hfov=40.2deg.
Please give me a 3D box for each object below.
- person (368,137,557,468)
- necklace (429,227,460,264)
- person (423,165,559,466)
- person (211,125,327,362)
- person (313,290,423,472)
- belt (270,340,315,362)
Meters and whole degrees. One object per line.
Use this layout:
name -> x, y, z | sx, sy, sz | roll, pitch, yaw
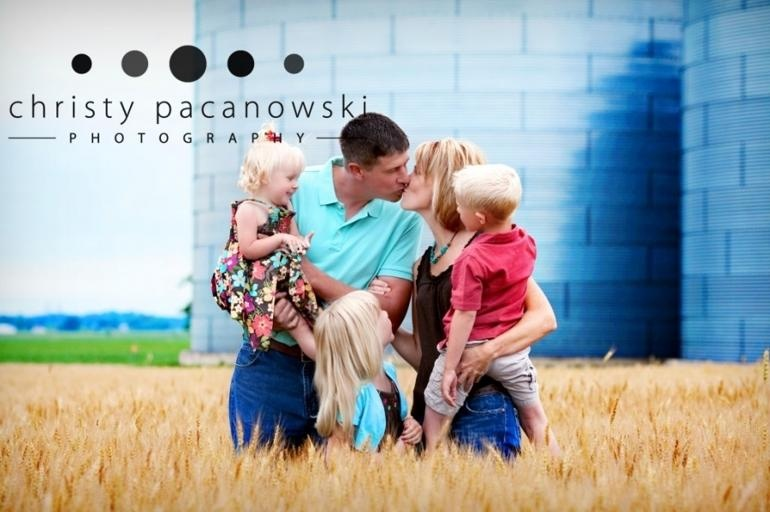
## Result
person -> 0.791, 0.466, 8.042 | 1.147, 2.397, 1.041 | 0, 18, -7
necklace -> 0.410, -0.062, 7.801 | 0.175, 0.239, 0.071 | 6, -18, 9
person -> 0.756, 0.402, 7.636 | 0.966, 2.062, 0.486 | -1, 13, 1
person -> -0.882, -0.040, 7.766 | 0.756, 1.510, 0.623 | -3, 13, -9
person -> -0.294, 0.872, 8.244 | 0.996, 1.559, 1.126 | -7, 1, 0
belt -> -0.698, 0.702, 7.841 | 0.231, 0.056, 0.172 | 19, 0, 22
